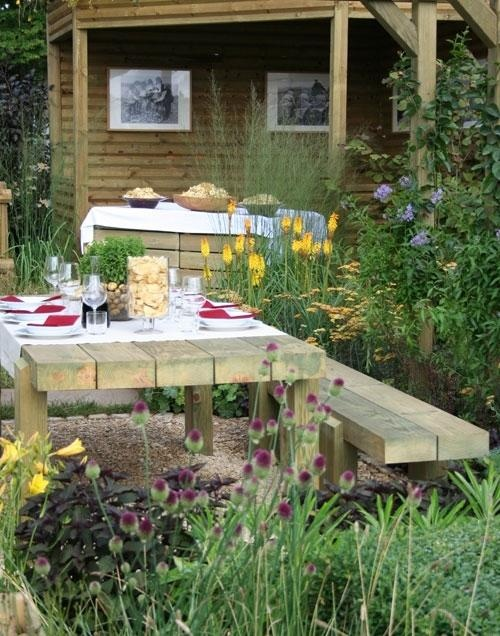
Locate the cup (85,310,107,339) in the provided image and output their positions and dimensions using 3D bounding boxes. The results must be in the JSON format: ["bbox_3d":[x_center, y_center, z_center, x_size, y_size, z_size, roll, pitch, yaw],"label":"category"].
[{"bbox_3d":[-0.576,0.019,2.287,0.090,0.092,0.090,1,8,0],"label":"cup"}]

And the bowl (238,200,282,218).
[{"bbox_3d":[0.102,-0.952,5.373,0.329,0.130,0.222,1,8,3],"label":"bowl"}]

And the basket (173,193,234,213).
[{"bbox_3d":[-0.502,-1.157,6.164,0.653,0.186,0.263,4,9,27],"label":"basket"}]
